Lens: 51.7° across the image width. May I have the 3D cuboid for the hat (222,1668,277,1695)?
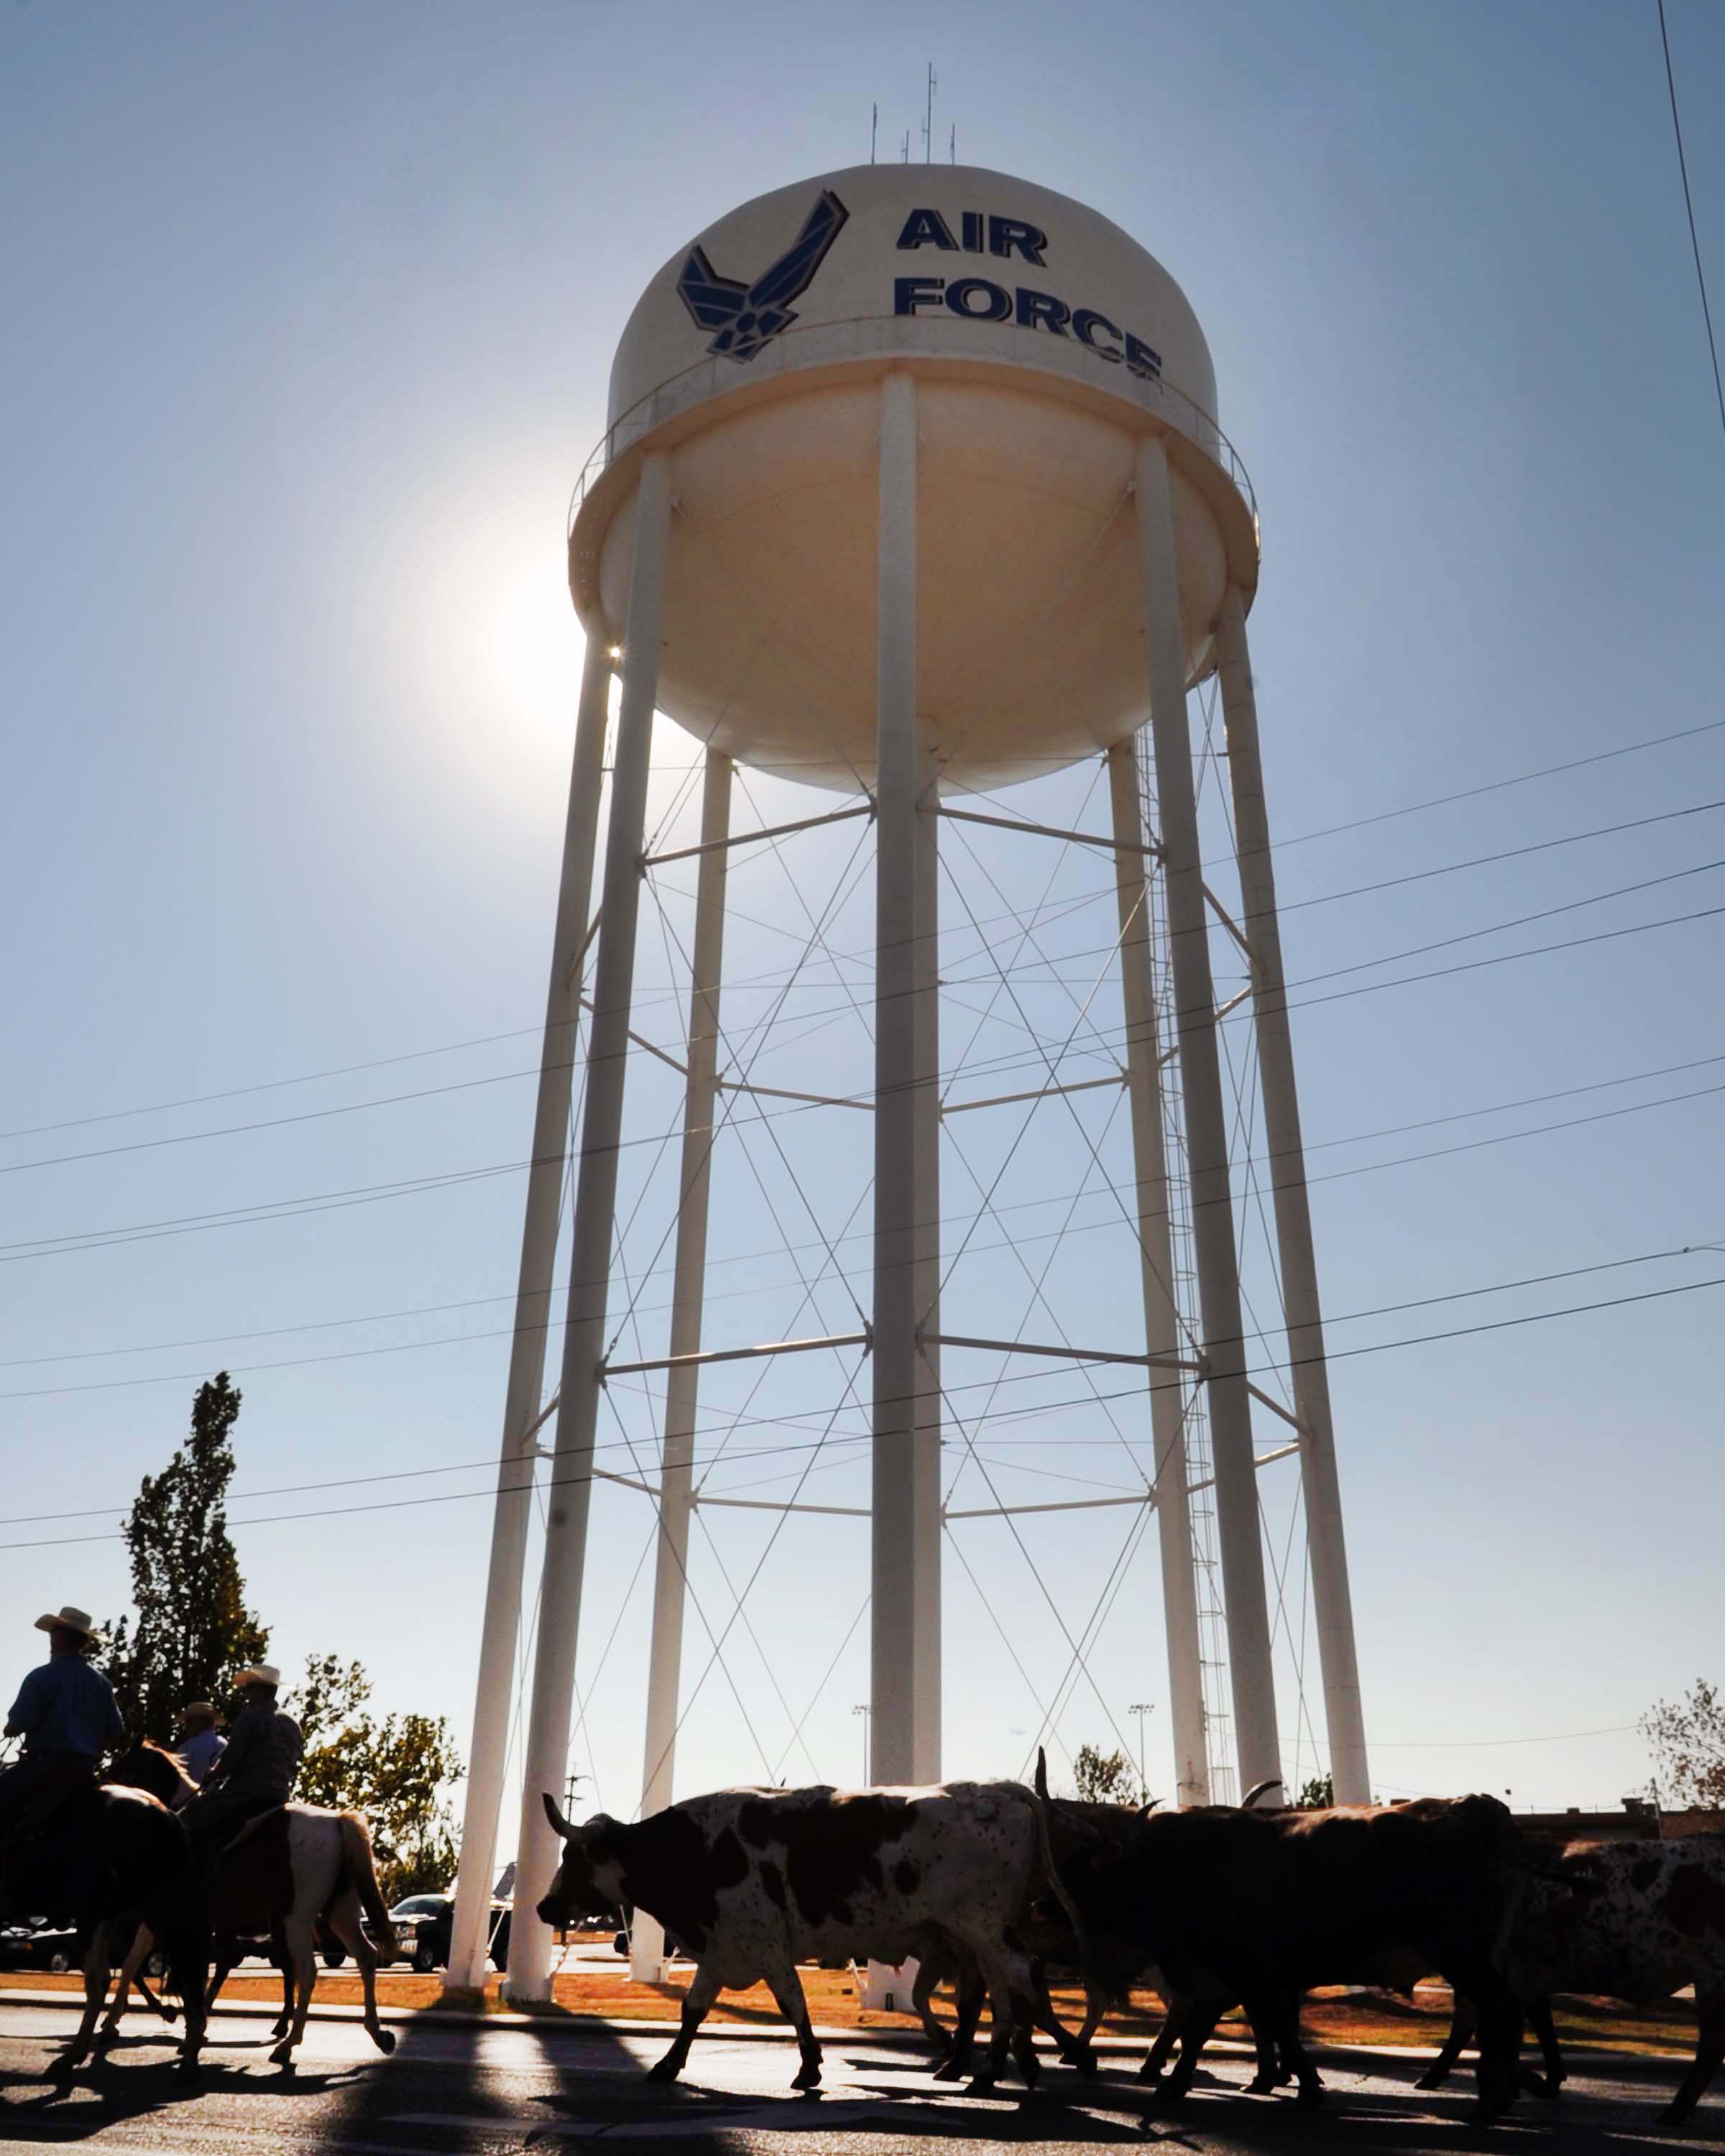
[{"bbox_3d":[-4.295,4.260,12.626,0.277,0.113,0.289,2,-6,-23],"label":"hat"}]
